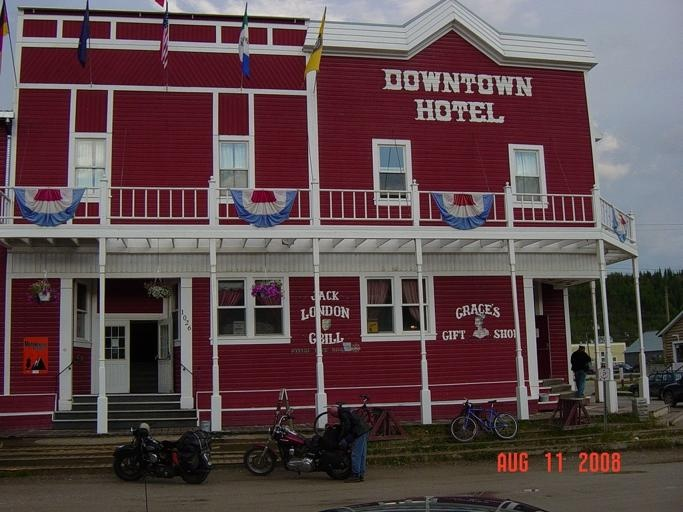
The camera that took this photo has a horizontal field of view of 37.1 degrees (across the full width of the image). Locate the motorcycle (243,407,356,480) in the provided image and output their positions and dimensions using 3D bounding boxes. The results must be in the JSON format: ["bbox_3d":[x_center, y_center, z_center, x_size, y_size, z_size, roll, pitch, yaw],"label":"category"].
[{"bbox_3d":[-0.989,4.770,25.517,2.722,1.685,1.501,1,-2,4],"label":"motorcycle"}]

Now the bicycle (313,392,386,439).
[{"bbox_3d":[0.225,4.464,28.569,2.092,1.269,1.049,3,-9,-11],"label":"bicycle"}]

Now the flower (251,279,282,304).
[{"bbox_3d":[-2.004,1.162,30.398,0.751,0.759,0.331,29,30,35],"label":"flower"}]

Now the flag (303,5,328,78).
[{"bbox_3d":[-0.688,-6.434,30.886,0.729,2.066,2.303,-4,-10,-1],"label":"flag"}]

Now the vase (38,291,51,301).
[{"bbox_3d":[-8.427,1.204,29.524,0.411,0.409,0.228,3,-7,-14],"label":"vase"}]

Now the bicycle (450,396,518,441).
[{"bbox_3d":[3.957,4.753,29.091,1.922,1.123,0.954,3,-17,-11],"label":"bicycle"}]

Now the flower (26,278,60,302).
[{"bbox_3d":[-8.509,1.073,29.722,0.749,1.088,0.662,3,-1,-21],"label":"flower"}]
